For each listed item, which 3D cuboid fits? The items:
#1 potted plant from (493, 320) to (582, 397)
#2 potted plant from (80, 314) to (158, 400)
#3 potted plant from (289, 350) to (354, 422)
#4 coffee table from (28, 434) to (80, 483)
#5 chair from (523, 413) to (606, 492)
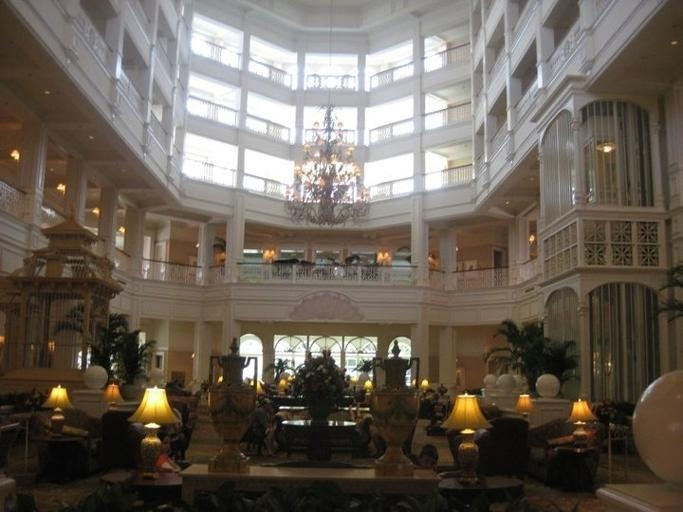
[{"bbox_3d":[4.655,2.201,13.898,1.661,1.564,1.724,3,-11,-8],"label":"potted plant"},{"bbox_3d":[-4.586,2.007,13.422,1.320,1.873,1.409,2,-16,-4],"label":"potted plant"},{"bbox_3d":[-0.453,2.440,11.847,1.005,1.416,1.035,2,-14,-8],"label":"potted plant"},{"bbox_3d":[-4.246,3.027,9.734,0.660,0.677,0.632,1,4,5],"label":"coffee table"},{"bbox_3d":[3.423,3.051,9.985,0.907,1.033,1.433,1,-14,-1],"label":"chair"}]
